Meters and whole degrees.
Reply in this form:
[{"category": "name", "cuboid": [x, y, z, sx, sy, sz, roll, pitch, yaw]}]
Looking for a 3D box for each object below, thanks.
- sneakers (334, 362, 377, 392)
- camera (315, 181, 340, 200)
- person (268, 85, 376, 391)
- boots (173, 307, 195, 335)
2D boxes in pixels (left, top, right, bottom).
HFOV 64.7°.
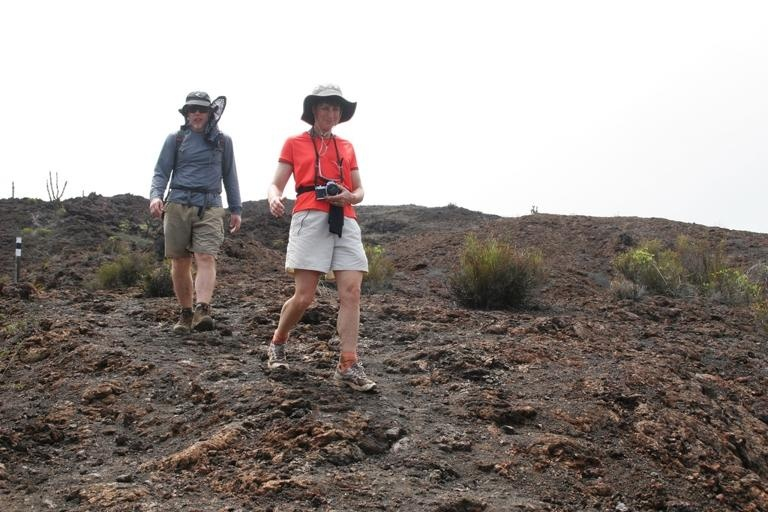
[{"category": "sneakers", "cuboid": [-0.261, 1.083, 5.398, 0.451, 0.212, 0.174, 11, 7, 28]}, {"category": "camera", "cuboid": [-0.496, -0.571, 5.320, 0.222, 0.135, 0.158, -3, -1, -24]}, {"category": "person", "cuboid": [-0.595, -0.144, 5.378, 0.902, 2.380, 1.519, -2, -32, -2]}, {"category": "boots", "cuboid": [-2.149, 0.709, 6.498, 0.182, 0.301, 0.110, 8, -34, -18]}]
